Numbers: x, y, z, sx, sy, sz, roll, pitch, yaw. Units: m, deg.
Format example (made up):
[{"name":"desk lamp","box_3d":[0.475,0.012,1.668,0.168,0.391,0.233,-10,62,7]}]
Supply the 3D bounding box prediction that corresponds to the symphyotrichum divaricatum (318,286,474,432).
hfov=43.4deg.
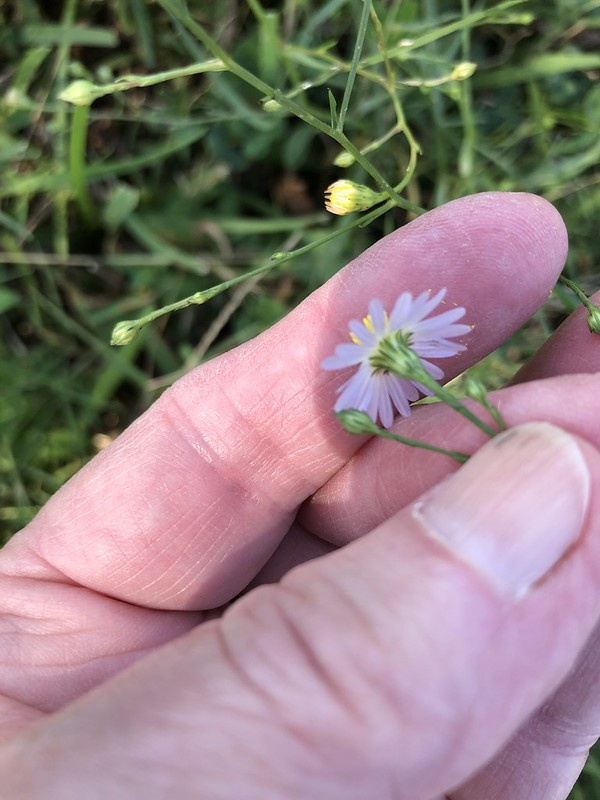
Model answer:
[{"name":"symphyotrichum divaricatum","box_3d":[0.139,-0.076,1.202,0.250,0.242,0.062,-23,25,25]}]
